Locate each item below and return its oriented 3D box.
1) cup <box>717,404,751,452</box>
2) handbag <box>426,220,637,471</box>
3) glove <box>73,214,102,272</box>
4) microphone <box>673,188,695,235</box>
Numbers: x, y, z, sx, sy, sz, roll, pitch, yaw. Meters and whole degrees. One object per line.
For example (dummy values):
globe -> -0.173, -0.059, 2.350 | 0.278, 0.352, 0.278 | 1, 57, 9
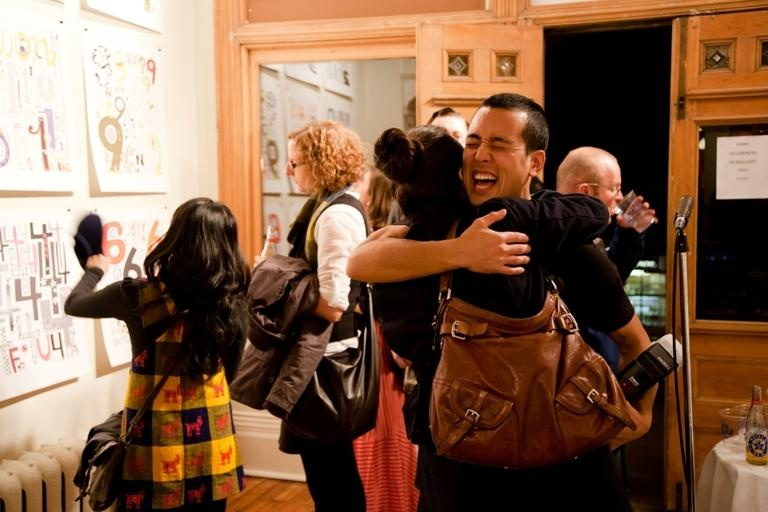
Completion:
cup -> 1.766, 0.871, 3.109 | 0.176, 0.139, 0.182 | -2, -7, 0
handbag -> 0.411, 0.265, 1.927 | 0.587, 0.767, 0.369 | -5, -6, -6
glove -> -1.714, -0.071, 3.446 | 0.057, 0.294, 0.217 | -10, -23, 33
microphone -> 1.377, -0.201, 2.820 | 0.068, 0.151, 0.333 | 3, 9, 26
